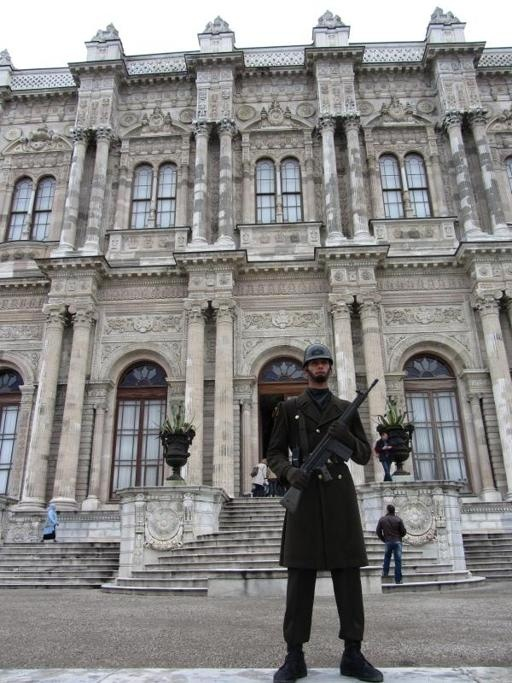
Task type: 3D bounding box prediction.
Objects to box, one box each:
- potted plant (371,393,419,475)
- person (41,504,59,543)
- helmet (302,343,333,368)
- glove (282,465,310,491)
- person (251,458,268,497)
[{"bbox_3d":[3.577,2.485,13.798,0.908,1.791,0.807,4,-25,-9],"label":"potted plant"},{"bbox_3d":[-5.999,5.262,15.742,0.374,1.061,1.078,7,-22,-19],"label":"person"},{"bbox_3d":[0.370,0.062,3.278,0.146,0.113,0.188,4,-24,-3],"label":"helmet"},{"bbox_3d":[0.210,0.721,2.848,0.138,0.118,0.091,-10,-22,23],"label":"glove"},{"bbox_3d":[0.101,4.306,17.127,0.512,1.260,1.046,-1,-20,0],"label":"person"}]
